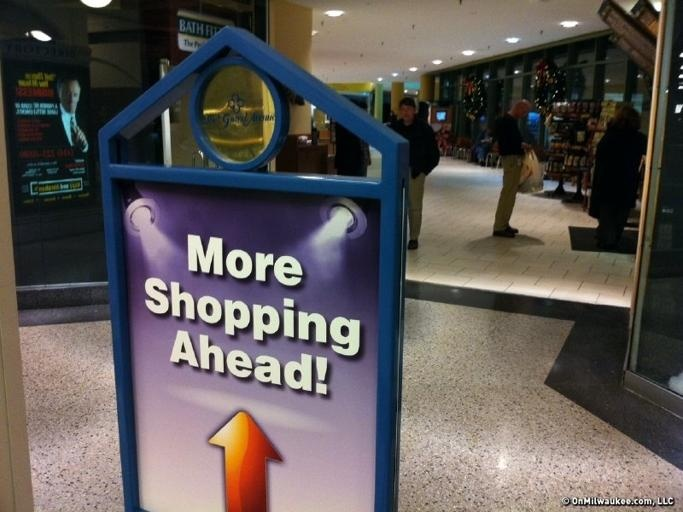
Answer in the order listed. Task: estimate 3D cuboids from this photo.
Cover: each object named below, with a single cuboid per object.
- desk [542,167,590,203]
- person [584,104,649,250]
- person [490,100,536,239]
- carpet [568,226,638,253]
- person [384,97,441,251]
[{"bbox_3d":[4.519,-1.415,10.819,0.695,0.565,1.212,1,15,1],"label":"desk"},{"bbox_3d":[3.223,-0.890,6.378,0.543,1.685,0.499,9,15,33],"label":"person"},{"bbox_3d":[2.212,-1.123,7.105,0.409,1.759,0.622,4,13,16],"label":"person"},{"bbox_3d":[3.259,-0.184,7.118,0.644,0.028,0.642,-2,24,17],"label":"carpet"},{"bbox_3d":[0.830,-0.900,6.228,0.517,1.761,0.826,2,13,8],"label":"person"}]
